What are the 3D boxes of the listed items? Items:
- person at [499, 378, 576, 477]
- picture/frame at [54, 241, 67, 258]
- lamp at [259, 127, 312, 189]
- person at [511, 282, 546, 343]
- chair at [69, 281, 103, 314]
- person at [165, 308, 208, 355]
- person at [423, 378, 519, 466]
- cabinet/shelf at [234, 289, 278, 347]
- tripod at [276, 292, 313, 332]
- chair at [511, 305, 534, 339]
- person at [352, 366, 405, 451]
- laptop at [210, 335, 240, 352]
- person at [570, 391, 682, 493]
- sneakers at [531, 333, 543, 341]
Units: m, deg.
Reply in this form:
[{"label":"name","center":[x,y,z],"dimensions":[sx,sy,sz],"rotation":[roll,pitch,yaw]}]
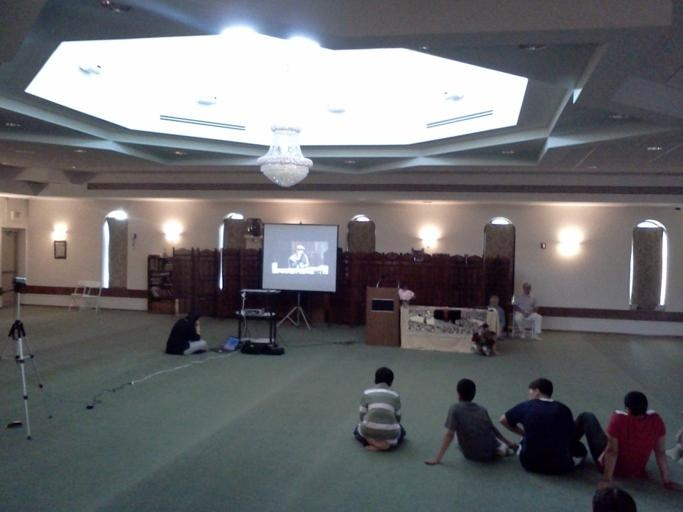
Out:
[{"label":"person","center":[2.530,2.127,6.280],"dimensions":[0.735,1.110,1.006],"rotation":[-4,-15,37]},{"label":"picture/frame","center":[-9.263,-0.220,16.474],"dimensions":[0.505,0.759,0.057],"rotation":[1,4,9]},{"label":"lamp","center":[-1.202,-2.000,10.504],"dimensions":[1.051,1.234,1.078],"rotation":[0,2,1]},{"label":"person","center":[4.881,1.437,13.139],"dimensions":[1.053,1.494,1.082],"rotation":[-2,-6,37]},{"label":"chair","center":[-8.179,1.342,16.044],"dimensions":[0.846,0.795,0.403],"rotation":[0,-3,6]},{"label":"person","center":[-3.246,1.590,10.579],"dimensions":[0.752,0.899,0.839],"rotation":[0,11,-29]},{"label":"person","center":[1.686,2.068,6.412],"dimensions":[1.184,1.010,0.596],"rotation":[2,-9,-22]},{"label":"cabinet/shelf","center":[-1.961,1.453,11.469],"dimensions":[1.095,1.298,1.151],"rotation":[-4,-8,33]},{"label":"tripod","center":[-1.242,1.432,14.095],"dimensions":[0.726,1.052,0.672],"rotation":[12,-31,-19]},{"label":"chair","center":[4.782,1.709,13.120],"dimensions":[0.552,0.721,0.659],"rotation":[3,6,17]},{"label":"person","center":[0.501,1.954,6.714],"dimensions":[0.931,1.230,0.853],"rotation":[2,1,1]},{"label":"laptop","center":[-2.429,1.914,10.759],"dimensions":[0.374,0.250,0.349],"rotation":[-2,-9,29]},{"label":"person","center":[3.348,2.068,5.930],"dimensions":[0.983,1.161,0.707],"rotation":[0,6,-11]},{"label":"sneakers","center":[5.009,2.094,12.853],"dimensions":[0.271,0.211,0.112],"rotation":[-1,0,11]}]
